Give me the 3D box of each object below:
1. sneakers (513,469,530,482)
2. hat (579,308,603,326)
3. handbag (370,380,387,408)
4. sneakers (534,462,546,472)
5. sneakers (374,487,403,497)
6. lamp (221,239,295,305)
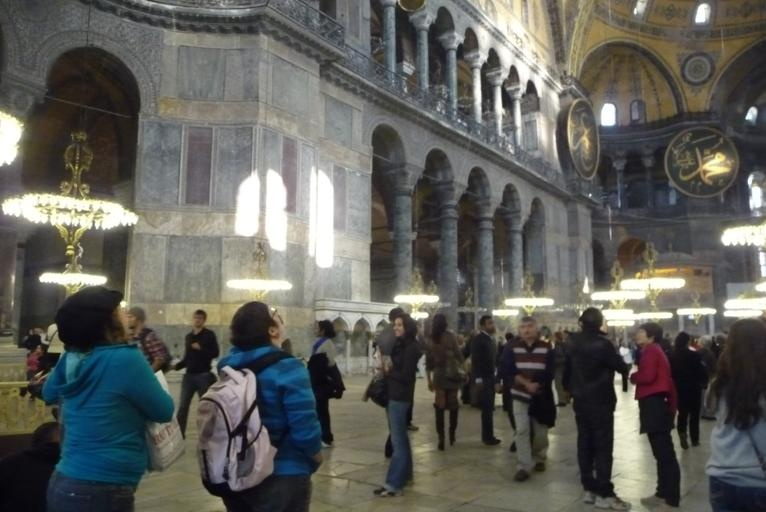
[{"bbox_3d":[2.123,3.288,11.424,0.298,0.164,0.117,0,8,-19],"label":"sneakers"},{"bbox_3d":[3.066,0.897,11.192,0.312,0.275,0.249,-2,-2,31],"label":"hat"},{"bbox_3d":[-0.064,2.100,11.519,0.289,0.425,0.322,3,8,0],"label":"handbag"},{"bbox_3d":[2.477,3.302,11.833,0.133,0.112,0.127,2,-8,-7],"label":"sneakers"},{"bbox_3d":[0.064,3.419,10.924,0.310,0.079,0.135,4,-12,4],"label":"sneakers"},{"bbox_3d":[-3.072,0.417,18.517,1.578,1.452,1.491,2,-7,-11],"label":"lamp"}]
